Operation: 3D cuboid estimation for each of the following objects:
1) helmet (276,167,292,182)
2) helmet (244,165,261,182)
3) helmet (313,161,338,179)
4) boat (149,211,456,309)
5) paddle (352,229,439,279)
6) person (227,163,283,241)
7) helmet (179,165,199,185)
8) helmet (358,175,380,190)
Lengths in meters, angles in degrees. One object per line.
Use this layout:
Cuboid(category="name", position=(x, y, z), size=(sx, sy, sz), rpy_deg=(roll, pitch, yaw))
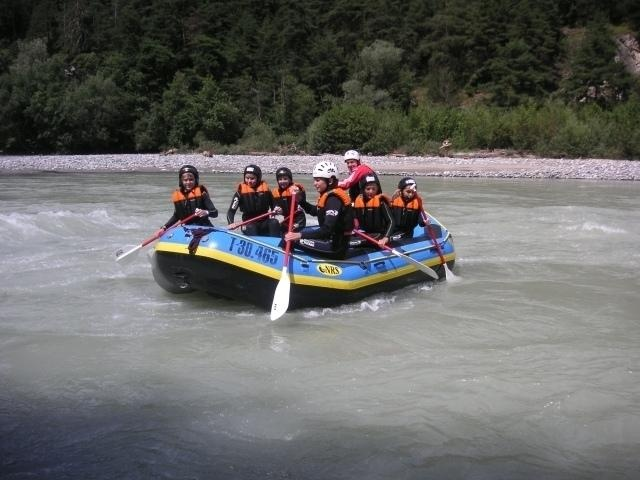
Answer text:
Cuboid(category="helmet", position=(-0.487, -0.916, 9.205), size=(0.174, 0.204, 0.188), rpy_deg=(-2, 33, 6))
Cuboid(category="helmet", position=(-0.911, -0.941, 9.212), size=(0.212, 0.244, 0.243), rpy_deg=(2, 4, 5))
Cuboid(category="helmet", position=(0.049, -0.826, 7.844), size=(0.272, 0.198, 0.193), rpy_deg=(7, -6, -30))
Cuboid(category="boat", position=(0.018, 0.333, 8.284), size=(2.664, 0.590, 1.485), rpy_deg=(0, 6, -38))
Cuboid(category="paddle", position=(0.955, 0.194, 8.738), size=(0.053, 1.289, 0.162), rpy_deg=(-47, 20, 46))
Cuboid(category="person", position=(-0.868, -0.457, 9.268), size=(0.744, 1.144, 0.842), rpy_deg=(0, 19, 21))
Cuboid(category="helmet", position=(-1.742, -0.904, 8.907), size=(0.293, 0.302, 0.344), rpy_deg=(0, -4, -6))
Cuboid(category="helmet", position=(0.647, -0.778, 8.772), size=(0.269, 0.216, 0.330), rpy_deg=(1, 14, 5))
